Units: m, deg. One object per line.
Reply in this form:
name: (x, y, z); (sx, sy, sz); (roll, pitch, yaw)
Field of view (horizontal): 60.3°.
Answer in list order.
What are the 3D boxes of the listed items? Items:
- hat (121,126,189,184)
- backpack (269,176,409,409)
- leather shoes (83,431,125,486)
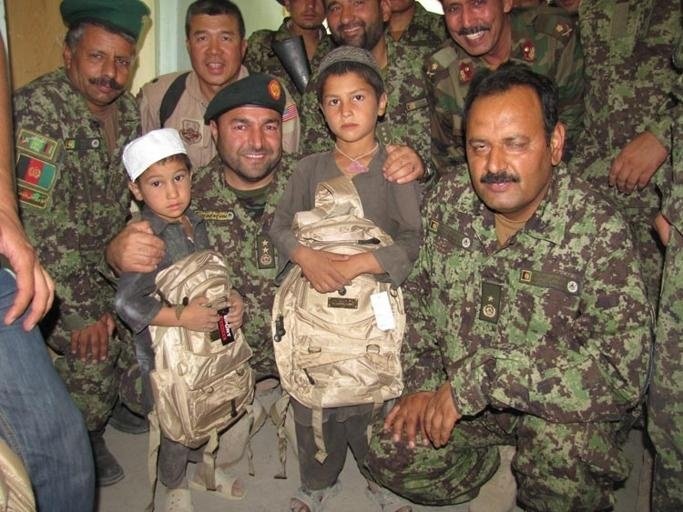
hat: (-1.059, -0.591, 3.313); (0.250, 0.206, 0.343); (-26, -6, -14)
backpack: (-0.011, 0.233, 3.370); (0.724, 1.199, 0.368); (-5, -4, 3)
leather shoes: (-1.440, 1.223, 3.602); (0.166, 0.289, 0.274); (0, -1, -34)
